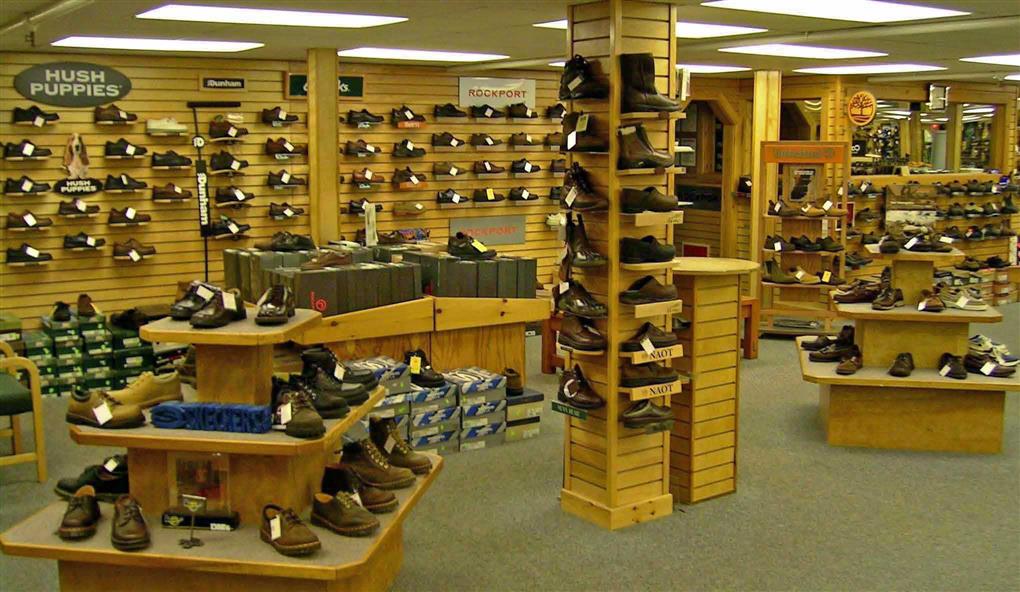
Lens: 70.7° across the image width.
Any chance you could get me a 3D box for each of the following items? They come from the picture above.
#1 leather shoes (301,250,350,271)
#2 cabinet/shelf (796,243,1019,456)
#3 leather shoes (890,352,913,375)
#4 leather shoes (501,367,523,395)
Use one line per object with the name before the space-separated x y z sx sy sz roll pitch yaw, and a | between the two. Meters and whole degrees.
leather shoes | -1.850 -0.379 7.238 0.168 0.167 0.481 5 10 41
cabinet/shelf | 3.753 0.555 8.116 2.785 1.660 2.333 0 2 9
leather shoes | 3.957 0.674 7.266 0.191 0.200 0.390 4 9 34
leather shoes | 0.032 0.916 7.635 0.233 0.227 0.309 -2 -3 -19
